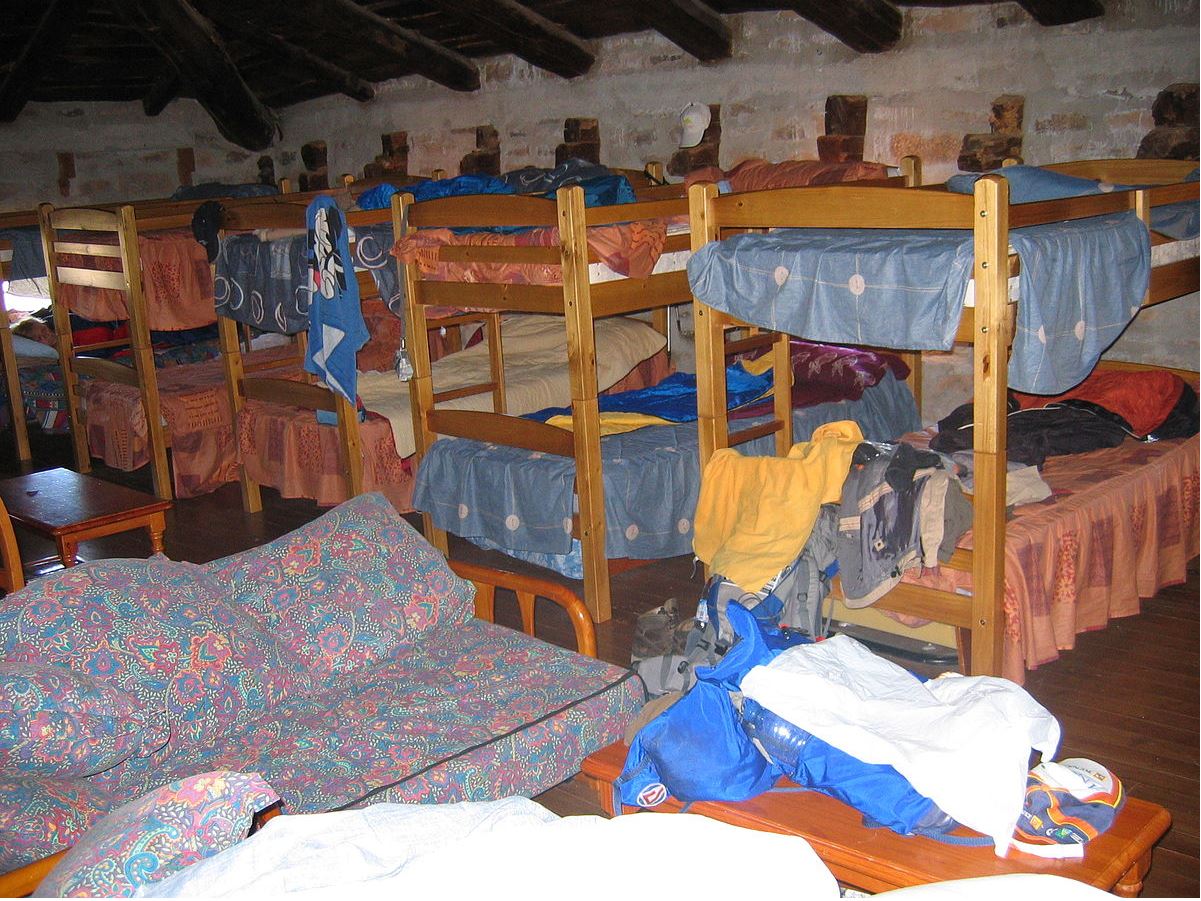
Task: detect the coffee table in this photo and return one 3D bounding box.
[{"bbox_3d":[0.899,0.891,2.800,1.095,0.230,0.481,9,21,33],"label":"coffee table"}]

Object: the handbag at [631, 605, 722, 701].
[{"bbox_3d":[0.314,0.843,4.108,0.313,0.376,0.425,1,1,15],"label":"handbag"}]
